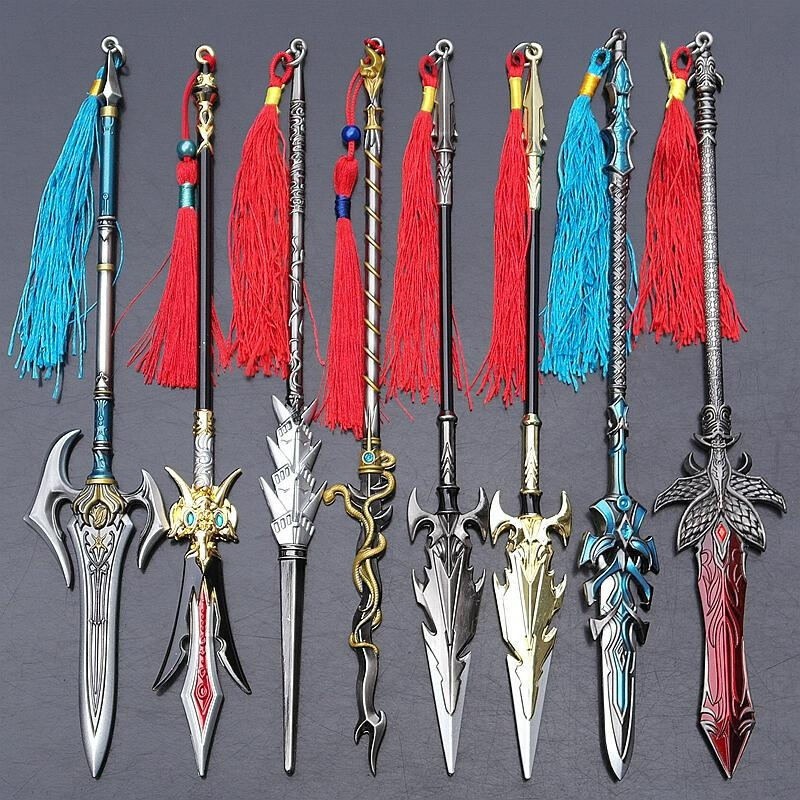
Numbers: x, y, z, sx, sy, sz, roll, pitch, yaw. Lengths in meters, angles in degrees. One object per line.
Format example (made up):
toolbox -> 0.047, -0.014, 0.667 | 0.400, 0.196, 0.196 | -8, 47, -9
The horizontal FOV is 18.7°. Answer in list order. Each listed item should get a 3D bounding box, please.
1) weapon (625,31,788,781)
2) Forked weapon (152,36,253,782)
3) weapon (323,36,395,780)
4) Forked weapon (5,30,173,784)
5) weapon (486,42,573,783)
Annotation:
weapon -> 0.537, -0.005, 4.100 | 0.227, 1.170, 0.213 | 3, 1, 30
Forked weapon -> -0.326, 0.006, 4.097 | 0.154, 1.053, 0.253 | 2, 1, -15
weapon -> -0.062, -0.004, 4.094 | 0.120, 1.096, 0.267 | 2, 1, -11
Forked weapon -> -0.543, -0.003, 4.082 | 0.210, 1.051, 0.248 | 2, 1, -14
weapon -> 0.218, 0.006, 4.098 | 0.135, 1.118, 0.248 | 2, 1, -17
